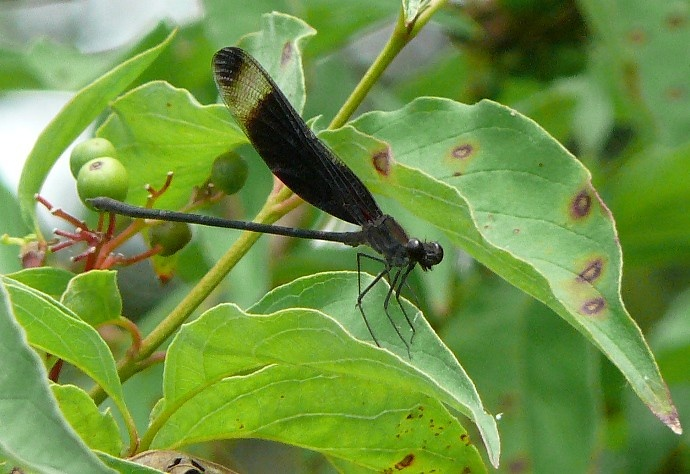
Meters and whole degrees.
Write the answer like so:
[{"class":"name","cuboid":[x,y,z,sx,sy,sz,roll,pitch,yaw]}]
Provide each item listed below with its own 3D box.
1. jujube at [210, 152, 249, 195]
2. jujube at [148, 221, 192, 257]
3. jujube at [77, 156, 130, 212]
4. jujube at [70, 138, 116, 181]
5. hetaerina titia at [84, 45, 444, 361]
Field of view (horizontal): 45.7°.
[{"class":"jujube","cuboid":[-0.397,-0.223,2.858,0.115,0.136,0.128,-14,19,-32]},{"class":"jujube","cuboid":[-0.598,-0.001,2.777,0.121,0.086,0.110,-10,6,27]},{"class":"jujube","cuboid":[-0.807,-0.176,2.681,0.176,0.209,0.171,5,-5,18]},{"class":"jujube","cuboid":[-0.832,-0.278,2.743,0.128,0.132,0.133,-33,-41,28]},{"class":"hetaerina titia","cuboid":[-0.234,-0.181,3.102,1.061,0.589,1.118,6,-15,18]}]
